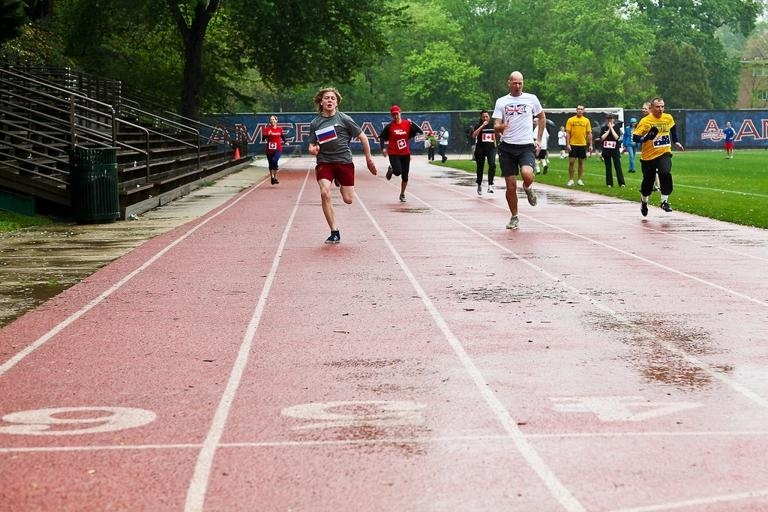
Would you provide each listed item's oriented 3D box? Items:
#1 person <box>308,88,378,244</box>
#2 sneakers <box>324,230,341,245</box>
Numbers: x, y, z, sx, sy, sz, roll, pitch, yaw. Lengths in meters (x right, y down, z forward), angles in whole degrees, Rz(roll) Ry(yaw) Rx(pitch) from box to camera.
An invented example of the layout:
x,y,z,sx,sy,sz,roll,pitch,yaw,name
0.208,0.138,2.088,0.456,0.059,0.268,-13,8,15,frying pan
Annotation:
x,y,z,sx,sy,sz,roll,pitch,yaw,name
-0.751,-1.566,12.717,0.975,2.568,1.245,-1,13,-1,person
-0.854,-0.342,12.539,0.246,0.215,0.319,-2,12,-7,sneakers
